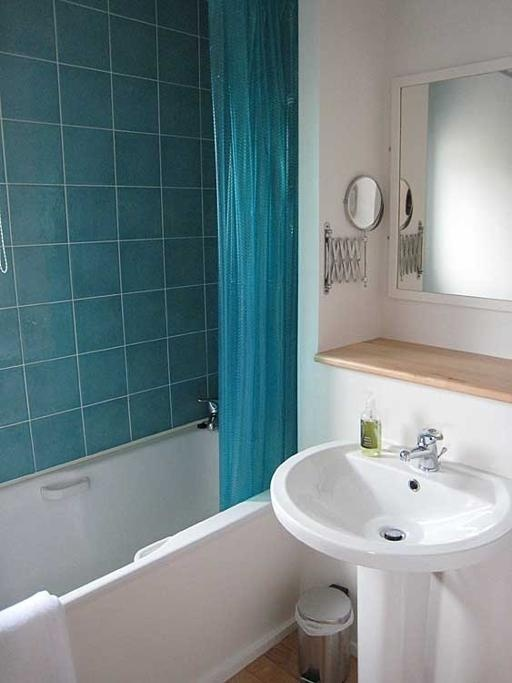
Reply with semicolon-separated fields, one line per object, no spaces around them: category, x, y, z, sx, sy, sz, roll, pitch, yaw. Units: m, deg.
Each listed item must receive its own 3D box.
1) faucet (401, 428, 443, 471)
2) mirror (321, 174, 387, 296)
faucet;0.413;0.275;1.297;0.121;0.102;0.054;-13;17;-21
mirror;0.308;-0.352;1.695;0.056;0.467;0.310;8;12;43
